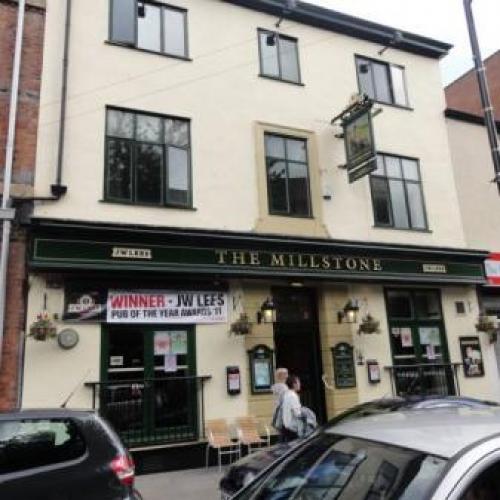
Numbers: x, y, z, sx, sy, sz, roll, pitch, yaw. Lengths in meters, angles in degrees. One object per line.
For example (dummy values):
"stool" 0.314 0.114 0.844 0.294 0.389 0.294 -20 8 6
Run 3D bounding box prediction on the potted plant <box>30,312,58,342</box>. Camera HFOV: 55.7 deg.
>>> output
"potted plant" -3.614 1.345 8.334 0.487 0.627 0.473 2 -6 -9

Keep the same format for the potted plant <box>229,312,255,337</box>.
"potted plant" -0.187 1.594 10.176 0.479 0.557 0.472 2 -9 -9

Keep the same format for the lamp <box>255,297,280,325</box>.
"lamp" 0.401 1.339 10.577 0.429 0.580 0.578 2 -13 -18
